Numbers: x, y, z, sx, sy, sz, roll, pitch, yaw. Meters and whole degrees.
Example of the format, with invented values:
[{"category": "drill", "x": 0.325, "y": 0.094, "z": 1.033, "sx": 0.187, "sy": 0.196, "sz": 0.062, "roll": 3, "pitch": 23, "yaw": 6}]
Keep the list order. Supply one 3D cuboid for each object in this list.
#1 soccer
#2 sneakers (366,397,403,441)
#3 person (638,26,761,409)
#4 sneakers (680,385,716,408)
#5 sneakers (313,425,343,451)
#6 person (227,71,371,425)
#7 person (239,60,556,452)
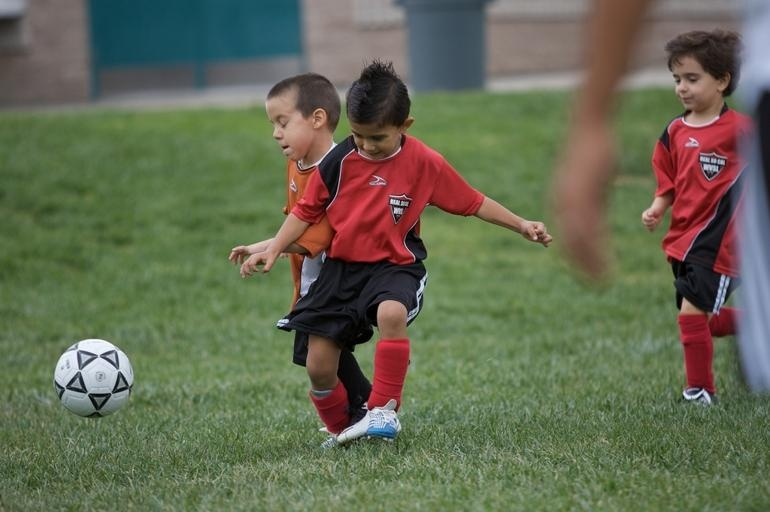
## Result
[{"category": "soccer", "x": -1.757, "y": 0.721, "z": 6.219, "sx": 0.438, "sy": 0.433, "sz": 0.434, "roll": 36, "pitch": -13, "yaw": -6}, {"category": "sneakers", "x": -0.007, "y": 0.915, "z": 5.811, "sx": 0.169, "sy": 0.223, "sz": 0.473, "roll": 3, "pitch": 3, "yaw": 4}, {"category": "person", "x": 1.829, "y": -0.228, "z": 6.013, "sx": 0.577, "sy": 2.179, "sz": 0.374, "roll": 9, "pitch": 15, "yaw": 28}, {"category": "sneakers", "x": 1.887, "y": 0.844, "z": 6.097, "sx": 0.161, "sy": 0.077, "sz": 0.093, "roll": 20, "pitch": -11, "yaw": -11}, {"category": "sneakers", "x": -0.323, "y": 1.058, "z": 5.887, "sx": 0.056, "sy": 0.113, "sz": 0.169, "roll": -18, "pitch": -12, "yaw": 43}, {"category": "person", "x": -0.574, "y": -0.084, "z": 6.122, "sx": 0.785, "sy": 2.159, "sz": 0.715, "roll": -2, "pitch": 29, "yaw": -2}, {"category": "person", "x": -0.069, "y": 0.002, "z": 5.678, "sx": 1.343, "sy": 2.124, "sz": 0.523, "roll": 0, "pitch": 14, "yaw": -8}]
